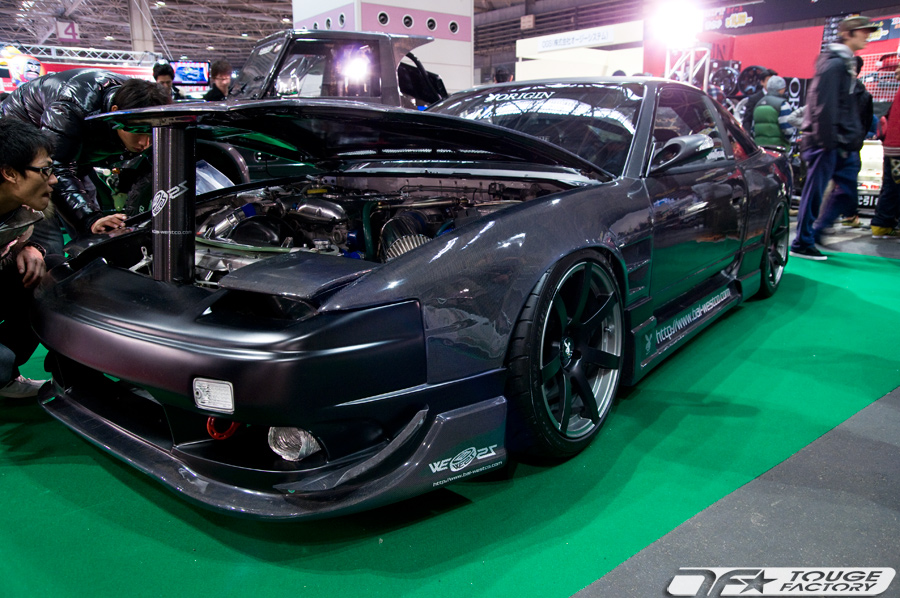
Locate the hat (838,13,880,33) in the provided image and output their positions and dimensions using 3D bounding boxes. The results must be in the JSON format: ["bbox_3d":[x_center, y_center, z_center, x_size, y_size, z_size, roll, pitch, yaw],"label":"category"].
[{"bbox_3d":[3.889,-2.634,5.475,0.276,0.193,0.461,9,19,36],"label":"hat"}]

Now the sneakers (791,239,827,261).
[{"bbox_3d":[3.681,-0.493,5.825,0.153,0.135,0.399,-26,28,-35],"label":"sneakers"}]

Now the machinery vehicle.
[{"bbox_3d":[-1.990,-2.035,6.001,2.267,1.761,3.694,25,31,30],"label":"machinery vehicle"}]

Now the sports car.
[{"bbox_3d":[0.385,-0.161,2.939,3.665,0.885,1.922,-14,19,-37],"label":"sports car"}]
